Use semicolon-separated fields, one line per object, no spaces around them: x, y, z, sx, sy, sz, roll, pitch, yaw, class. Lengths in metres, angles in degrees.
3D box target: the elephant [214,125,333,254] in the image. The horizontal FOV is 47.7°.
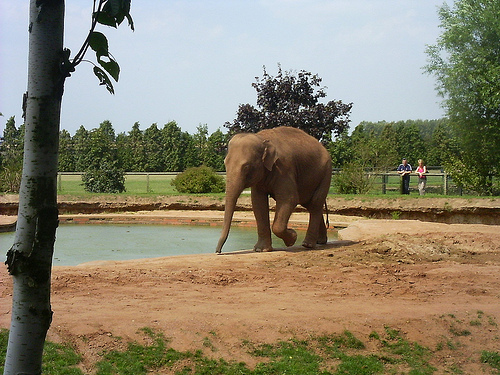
0.740;0.150;13.592;3.588;2.977;1.494;-3;4;-38;elephant
